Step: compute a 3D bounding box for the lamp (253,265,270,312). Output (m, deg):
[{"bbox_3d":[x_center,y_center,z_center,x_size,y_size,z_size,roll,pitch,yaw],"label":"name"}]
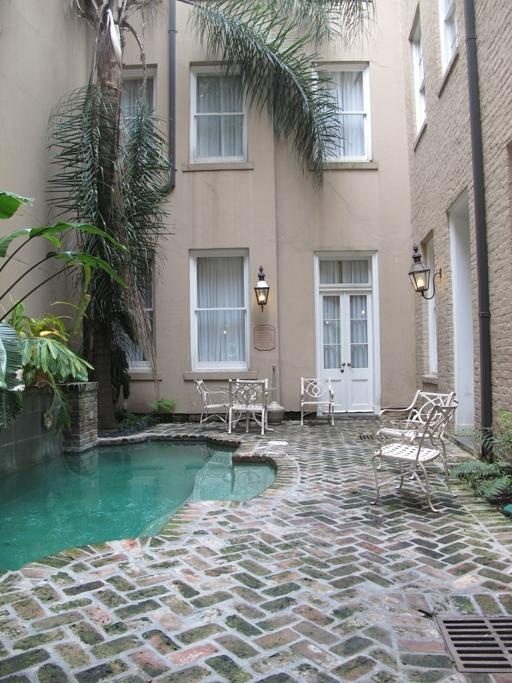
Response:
[{"bbox_3d":[0.100,-0.965,9.225,0.285,0.806,0.498,-1,-3,0],"label":"lamp"}]
